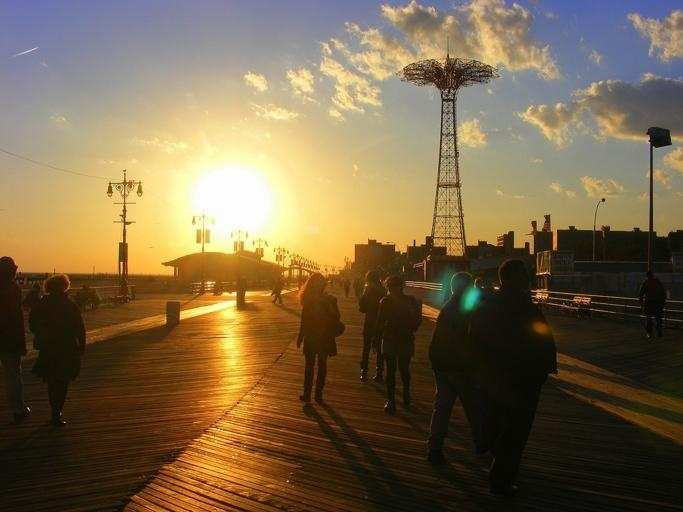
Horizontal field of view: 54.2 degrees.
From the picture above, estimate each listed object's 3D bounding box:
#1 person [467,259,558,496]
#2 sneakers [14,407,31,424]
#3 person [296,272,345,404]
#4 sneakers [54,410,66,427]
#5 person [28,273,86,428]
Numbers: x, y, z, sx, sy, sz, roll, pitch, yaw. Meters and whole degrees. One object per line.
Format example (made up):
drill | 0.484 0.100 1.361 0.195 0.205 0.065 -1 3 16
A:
person | 1.929 1.355 7.500 0.894 2.613 0.293 0 0 12
sneakers | -4.723 2.334 9.881 0.135 0.189 0.345 0 0 9
person | -0.363 1.354 11.177 0.730 2.137 0.492 0 0 -4
sneakers | -4.076 2.331 9.712 0.161 0.195 0.460 0 0 -17
person | -4.188 1.350 9.821 0.756 2.128 0.685 0 0 -13
